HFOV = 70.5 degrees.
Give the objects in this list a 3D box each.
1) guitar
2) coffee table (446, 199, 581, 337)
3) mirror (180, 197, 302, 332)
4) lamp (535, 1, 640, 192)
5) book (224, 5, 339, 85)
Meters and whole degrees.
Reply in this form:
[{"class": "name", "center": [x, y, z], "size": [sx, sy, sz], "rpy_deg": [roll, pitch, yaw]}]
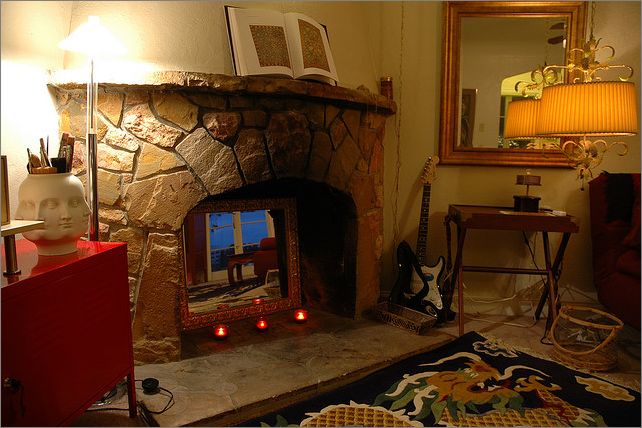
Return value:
[{"class": "guitar", "center": [0.756, 0.161, 3.396], "size": [0.390, 1.162, 0.459], "rpy_deg": [5, 13, 24]}, {"class": "coffee table", "center": [1.358, 0.397, 3.365], "size": [0.879, 0.916, 0.685], "rpy_deg": [3, 12, 15]}, {"class": "mirror", "center": [-0.609, 0.350, 3.223], "size": [0.949, 0.861, 0.062], "rpy_deg": [-4, 3, -33]}, {"class": "lamp", "center": [1.876, -0.802, 3.209], "size": [0.701, 1.332, 0.840], "rpy_deg": [5, 13, 23]}, {"class": "book", "center": [-0.235, -1.086, 2.879], "size": [0.684, 0.428, 0.224], "rpy_deg": [-7, 14, -30]}]
